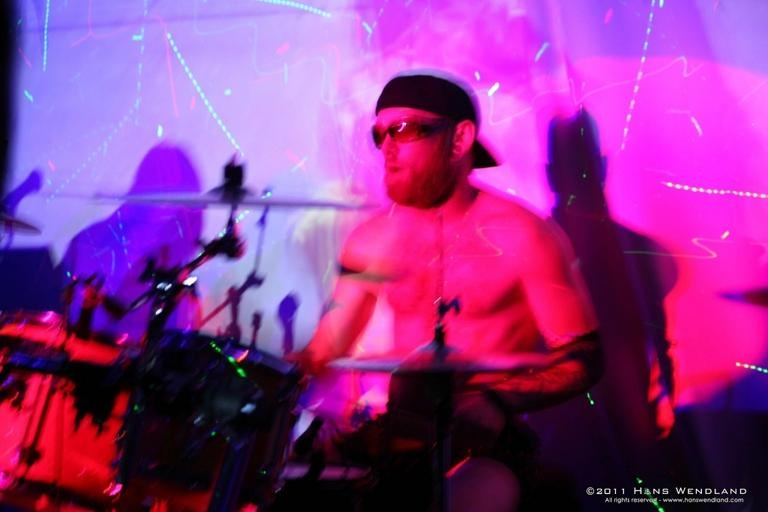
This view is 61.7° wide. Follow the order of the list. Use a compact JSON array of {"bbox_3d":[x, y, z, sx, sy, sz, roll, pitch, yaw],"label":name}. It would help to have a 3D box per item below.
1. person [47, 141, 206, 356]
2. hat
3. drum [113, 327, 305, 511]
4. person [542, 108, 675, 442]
[{"bbox_3d":[-1.059,-0.007,2.804,0.486,0.878,0.212,29,11,18],"label":"person"},{"bbox_3d":[0.224,-0.623,2.637,0.442,0.129,0.331,30,-14,-15],"label":"hat"},{"bbox_3d":[-0.708,0.637,2.514,0.704,0.657,0.286,0,-11,14],"label":"drum"},{"bbox_3d":[0.889,-0.089,2.656,0.311,1.565,0.420,-7,-6,-33],"label":"person"}]
